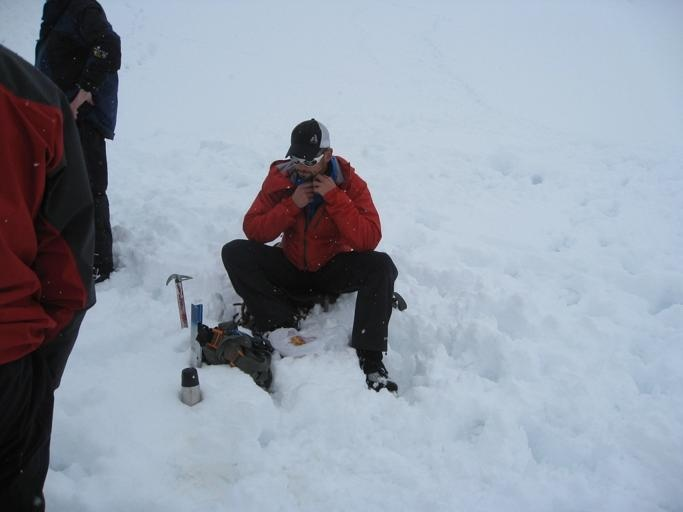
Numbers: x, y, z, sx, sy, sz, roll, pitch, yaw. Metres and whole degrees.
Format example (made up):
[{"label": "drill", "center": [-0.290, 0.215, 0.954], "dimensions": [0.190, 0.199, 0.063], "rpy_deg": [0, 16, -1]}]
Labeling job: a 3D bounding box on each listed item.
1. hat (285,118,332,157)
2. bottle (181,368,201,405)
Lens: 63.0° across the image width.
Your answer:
[{"label": "hat", "center": [-0.235, -0.825, 4.028], "dimensions": [0.286, 0.287, 0.287], "rpy_deg": [16, 27, 5]}, {"label": "bottle", "center": [-0.840, 0.732, 3.143], "dimensions": [0.119, 0.192, 0.127], "rpy_deg": [10, 27, -5]}]
